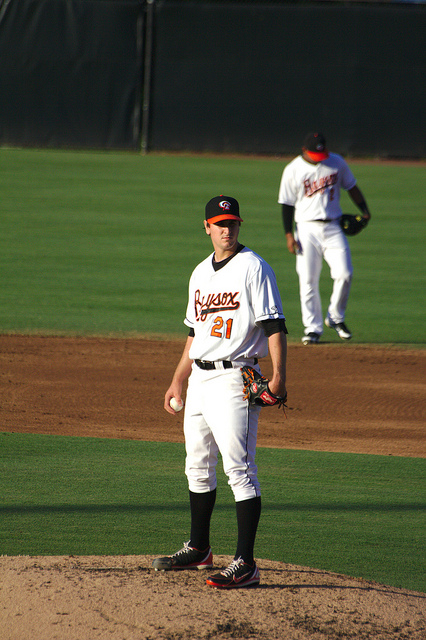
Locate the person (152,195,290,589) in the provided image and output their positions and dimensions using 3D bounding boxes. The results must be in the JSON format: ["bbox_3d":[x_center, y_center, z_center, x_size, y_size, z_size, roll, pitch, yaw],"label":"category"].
[{"bbox_3d":[0.087,0.480,10.427,0.863,2.644,0.582,4,4,18],"label":"person"}]

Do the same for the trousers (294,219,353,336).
[{"bbox_3d":[1.129,-0.450,15.351,0.486,1.235,0.505,6,18,14],"label":"trousers"}]

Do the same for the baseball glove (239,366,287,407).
[{"bbox_3d":[0.342,0.473,10.314,0.208,0.279,0.287,0,5,-43],"label":"baseball glove"}]

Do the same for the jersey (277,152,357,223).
[{"bbox_3d":[1.062,-1.381,15.164,0.799,0.759,0.397,-10,30,-1],"label":"jersey"}]

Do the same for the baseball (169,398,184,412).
[{"bbox_3d":[-0.256,0.610,10.779,0.093,0.106,0.208,3,4,-2],"label":"baseball"}]

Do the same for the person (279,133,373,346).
[{"bbox_3d":[1.106,-0.800,15.304,0.905,2.132,0.584,-1,5,-44],"label":"person"}]

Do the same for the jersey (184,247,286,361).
[{"bbox_3d":[0.107,-0.086,10.531,0.863,0.852,0.455,-2,-7,36],"label":"jersey"}]
